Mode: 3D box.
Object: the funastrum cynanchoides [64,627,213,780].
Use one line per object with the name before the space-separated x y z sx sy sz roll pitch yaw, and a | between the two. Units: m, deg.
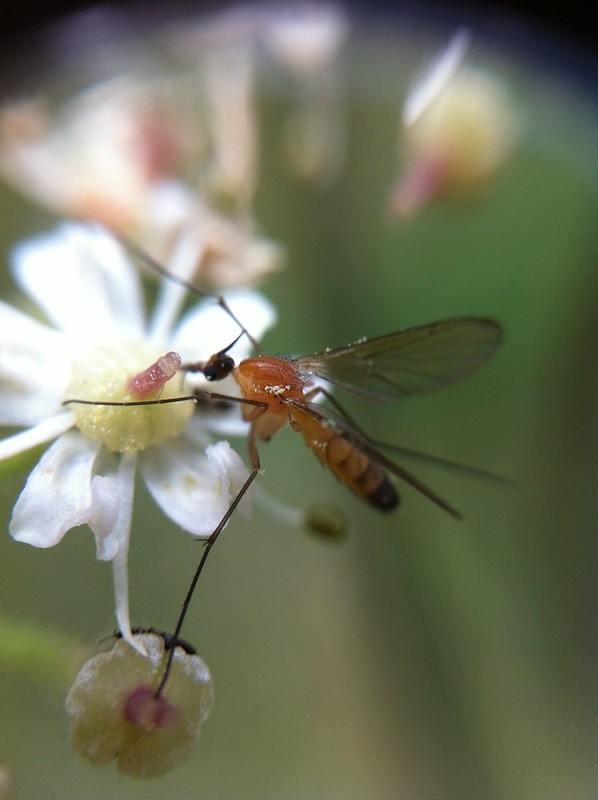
funastrum cynanchoides | -0.102 0.197 0.511 0.081 0.066 0.074 13 44 11
